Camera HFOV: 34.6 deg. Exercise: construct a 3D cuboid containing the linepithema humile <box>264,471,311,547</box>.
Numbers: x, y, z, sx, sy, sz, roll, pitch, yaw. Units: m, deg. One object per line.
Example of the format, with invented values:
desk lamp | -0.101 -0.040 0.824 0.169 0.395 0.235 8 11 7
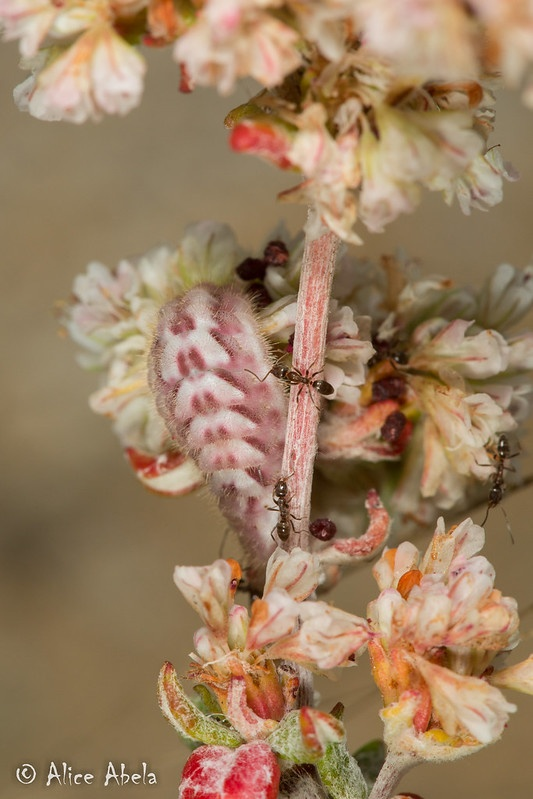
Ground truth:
linepithema humile | 0.012 0.070 0.550 0.036 0.039 0.013 12 24 41
